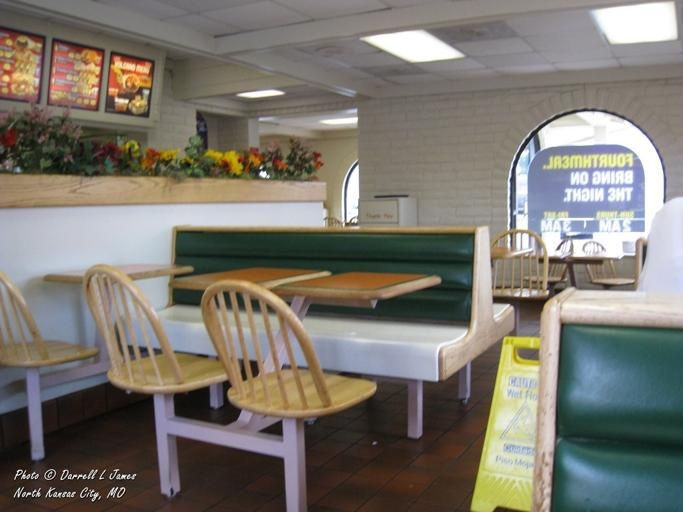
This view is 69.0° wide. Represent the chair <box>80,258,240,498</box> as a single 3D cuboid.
[{"bbox_3d":[-0.830,0.559,2.472,0.643,1.034,0.688,2,4,28],"label":"chair"}]

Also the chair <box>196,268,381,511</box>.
[{"bbox_3d":[-0.326,0.499,2.438,0.665,0.993,1.246,-4,10,-17],"label":"chair"}]

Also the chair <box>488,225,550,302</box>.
[{"bbox_3d":[1.770,0.204,5.107,0.681,0.982,0.692,0,-3,24],"label":"chair"}]
